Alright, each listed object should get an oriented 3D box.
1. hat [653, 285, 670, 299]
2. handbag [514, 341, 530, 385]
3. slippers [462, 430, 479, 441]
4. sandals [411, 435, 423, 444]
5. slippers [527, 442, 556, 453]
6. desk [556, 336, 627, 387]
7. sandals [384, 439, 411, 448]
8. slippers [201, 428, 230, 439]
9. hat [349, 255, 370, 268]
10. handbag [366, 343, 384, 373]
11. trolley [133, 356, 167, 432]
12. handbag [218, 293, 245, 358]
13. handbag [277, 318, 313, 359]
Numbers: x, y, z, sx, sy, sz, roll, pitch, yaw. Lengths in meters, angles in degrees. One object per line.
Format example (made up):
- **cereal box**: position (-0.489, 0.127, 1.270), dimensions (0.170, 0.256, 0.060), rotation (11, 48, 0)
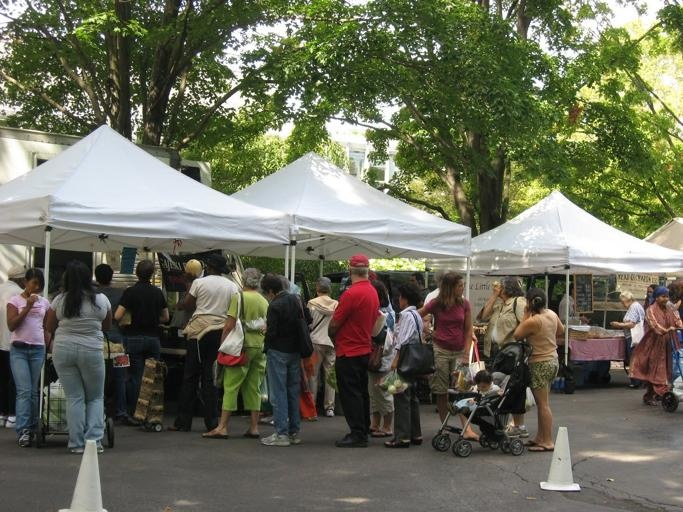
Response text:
- **hat**: position (5.883, 0.666, 17.723), dimensions (0.269, 0.209, 0.198), rotation (0, 2, 3)
- **handbag**: position (2.577, 1.513, 13.525), dimensions (0.289, 0.610, 0.165), rotation (7, -10, -43)
- **slippers**: position (1.863, 2.620, 14.020), dimensions (0.333, 0.113, 0.289), rotation (-2, -25, 13)
- **sandals**: position (1.135, 2.719, 14.210), dimensions (0.116, 0.120, 0.305), rotation (-5, -9, 28)
- **slippers**: position (2.828, 2.739, 13.759), dimensions (0.320, 0.073, 0.140), rotation (6, -7, -22)
- **desk**: position (5.130, 2.222, 20.538), dimensions (1.505, 1.193, 1.609), rotation (1, 2, -32)
- **sandals**: position (0.799, 2.691, 13.873), dimensions (0.369, 0.113, 0.133), rotation (4, -7, 1)
- **slippers**: position (-1.852, 2.613, 14.115), dimensions (0.347, 0.107, 0.132), rotation (4, -8, 0)
- **hat**: position (0.234, 0.074, 13.824), dimensions (0.181, 0.125, 0.234), rotation (0, 9, -15)
- **handbag**: position (0.476, 1.464, 14.016), dimensions (0.156, 0.349, 0.362), rotation (14, -14, 21)
- **trolley**: position (-2.916, 2.078, 14.530), dimensions (0.504, 1.013, 0.521), rotation (5, 5, -32)
- **handbag**: position (-1.592, 1.044, 13.931), dimensions (0.365, 1.033, 0.219), rotation (0, -7, -7)
- **handbag**: position (-0.670, 1.155, 13.669), dimensions (0.471, 0.545, 0.246), rotation (0, -7, -3)
